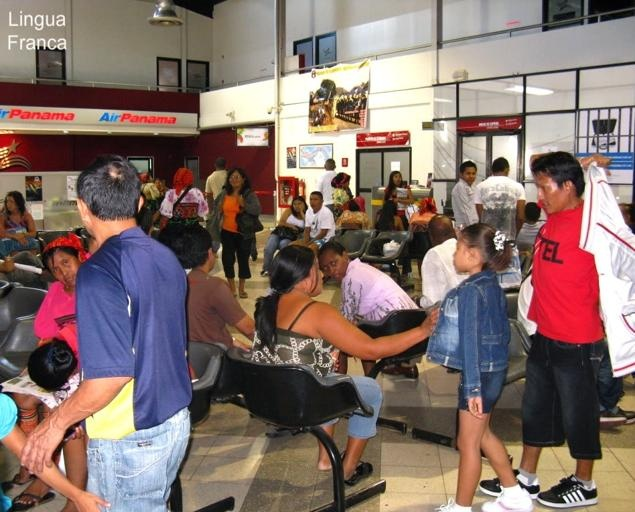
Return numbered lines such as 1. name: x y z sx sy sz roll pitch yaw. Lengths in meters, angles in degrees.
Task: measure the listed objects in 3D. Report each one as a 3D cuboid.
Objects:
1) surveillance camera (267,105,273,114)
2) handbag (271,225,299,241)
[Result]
1. surveillance camera: -1.638 -5.026 17.213 0.081 0.290 0.324 -6 11 -38
2. handbag: -0.502 -0.362 7.804 0.244 0.139 0.315 6 -3 -26
